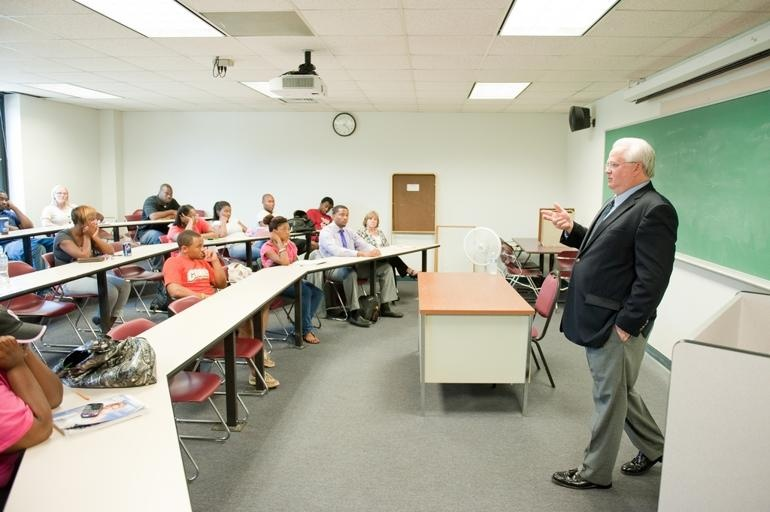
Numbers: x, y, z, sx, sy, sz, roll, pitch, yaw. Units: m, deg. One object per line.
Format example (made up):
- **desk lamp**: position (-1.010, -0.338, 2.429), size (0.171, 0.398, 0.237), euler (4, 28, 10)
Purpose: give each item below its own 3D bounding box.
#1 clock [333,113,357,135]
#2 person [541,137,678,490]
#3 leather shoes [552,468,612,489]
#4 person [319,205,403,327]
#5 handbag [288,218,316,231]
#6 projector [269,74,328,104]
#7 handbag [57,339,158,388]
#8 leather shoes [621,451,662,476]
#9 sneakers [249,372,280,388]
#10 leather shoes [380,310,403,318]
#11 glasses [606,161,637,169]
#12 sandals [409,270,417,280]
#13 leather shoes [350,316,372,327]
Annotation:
- **clock**: position (-0.729, -2.369, 9.526), size (0.383, 0.388, 0.090), euler (15, 10, 5)
- **person**: position (1.608, 0.419, 3.597), size (0.746, 2.378, 0.705), euler (8, 16, 29)
- **leather shoes**: position (1.402, 1.554, 3.763), size (0.389, 0.166, 0.156), euler (4, -3, 9)
- **person**: position (-0.346, 0.081, 7.080), size (1.062, 1.526, 0.955), euler (-2, 4, -2)
- **handbag**: position (-1.332, -0.492, 8.342), size (0.337, 0.168, 0.416), euler (0, 2, -10)
- **projector**: position (-0.941, -1.821, 5.694), size (0.559, 0.249, 0.587), euler (-12, 19, -41)
- **handbag**: position (-1.671, 0.611, 3.142), size (0.443, 0.205, 0.331), euler (1, 5, 5)
- **leather shoes**: position (1.840, 1.494, 3.817), size (0.295, 0.123, 0.142), euler (0, 0, -2)
- **sneakers**: position (-1.152, 1.158, 4.966), size (0.235, 0.100, 0.141), euler (2, 5, -2)
- **leather shoes**: position (0.087, 0.786, 7.156), size (0.305, 0.083, 0.116), euler (-1, -1, 20)
- **glasses**: position (1.564, -0.605, 3.490), size (0.164, 0.046, 0.067), euler (8, 16, 29)
- **sandals**: position (0.453, 0.299, 8.414), size (0.167, 0.192, 0.497), euler (-1, -2, 1)
- **leather shoes**: position (-0.317, 0.847, 6.793), size (0.309, 0.127, 0.109), euler (1, 7, 39)
